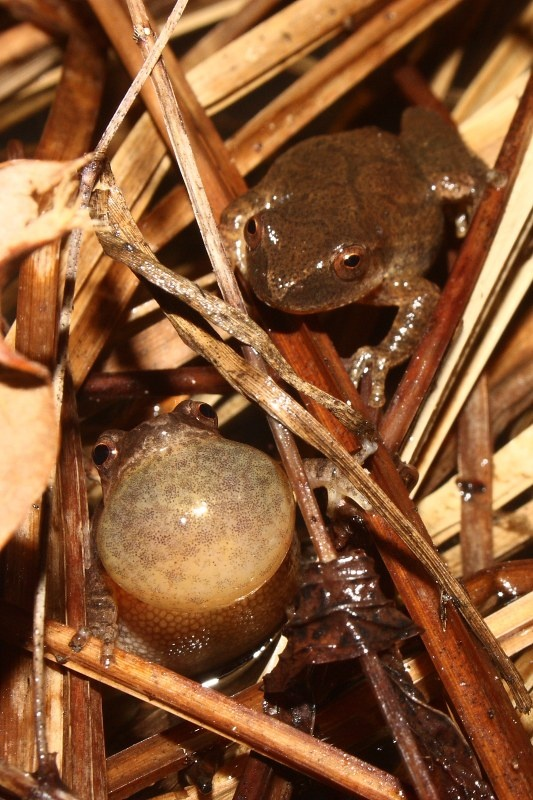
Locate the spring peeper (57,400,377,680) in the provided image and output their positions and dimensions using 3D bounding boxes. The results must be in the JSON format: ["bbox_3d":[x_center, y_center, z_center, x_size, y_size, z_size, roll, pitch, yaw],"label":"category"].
[{"bbox_3d":[-0.160,0.280,1.562,0.679,0.265,0.535,-6,46,-9],"label":"spring peeper"}]
